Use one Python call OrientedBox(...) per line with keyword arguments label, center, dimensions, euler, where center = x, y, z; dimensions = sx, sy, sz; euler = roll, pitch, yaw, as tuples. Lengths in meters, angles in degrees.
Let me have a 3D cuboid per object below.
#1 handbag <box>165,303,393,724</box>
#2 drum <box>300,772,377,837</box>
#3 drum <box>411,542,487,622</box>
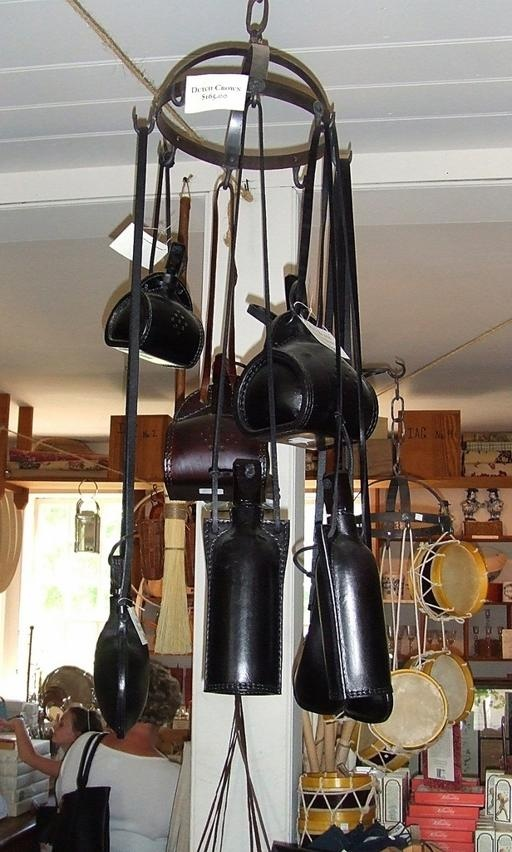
OrientedBox(label="handbag", center=(0.053, 0.082, 0.830), dimensions=(0.188, 0.486, 0.199), euler=(-2, -8, 10))
OrientedBox(label="drum", center=(0.188, 0.841, 1.640), dimensions=(0.143, 0.156, 0.147), euler=(2, -13, -3))
OrientedBox(label="drum", center=(0.572, 0.448, 2.146), dimensions=(0.245, 0.235, 0.154), euler=(4, -10, -28))
